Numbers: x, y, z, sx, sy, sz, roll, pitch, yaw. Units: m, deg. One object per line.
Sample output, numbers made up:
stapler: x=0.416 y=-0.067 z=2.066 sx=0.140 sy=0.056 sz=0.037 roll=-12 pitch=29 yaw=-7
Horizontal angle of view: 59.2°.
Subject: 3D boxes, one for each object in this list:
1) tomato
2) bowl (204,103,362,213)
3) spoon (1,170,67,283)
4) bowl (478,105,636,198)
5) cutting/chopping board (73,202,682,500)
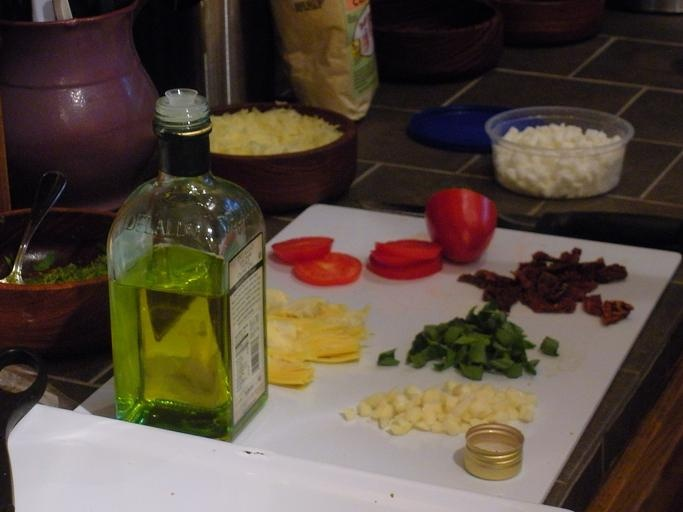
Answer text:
tomato: x=0.078 y=-0.017 z=0.953 sx=0.276 sy=0.108 sz=0.178 roll=1 pitch=17 yaw=-4
bowl: x=-0.107 y=-0.201 z=1.086 sx=0.223 sy=0.083 sz=0.209 roll=-2 pitch=24 yaw=1
spoon: x=-0.432 y=-0.040 z=0.846 sx=0.040 sy=0.029 sz=0.178 roll=23 pitch=78 yaw=4
bowl: x=0.449 y=-0.239 z=1.278 sx=0.287 sy=0.123 sz=0.269 roll=0 pitch=38 yaw=0
cutting/chopping board: x=0.120 y=0.059 z=0.692 sx=0.401 sy=0.012 sz=0.473 roll=7 pitch=24 yaw=20
